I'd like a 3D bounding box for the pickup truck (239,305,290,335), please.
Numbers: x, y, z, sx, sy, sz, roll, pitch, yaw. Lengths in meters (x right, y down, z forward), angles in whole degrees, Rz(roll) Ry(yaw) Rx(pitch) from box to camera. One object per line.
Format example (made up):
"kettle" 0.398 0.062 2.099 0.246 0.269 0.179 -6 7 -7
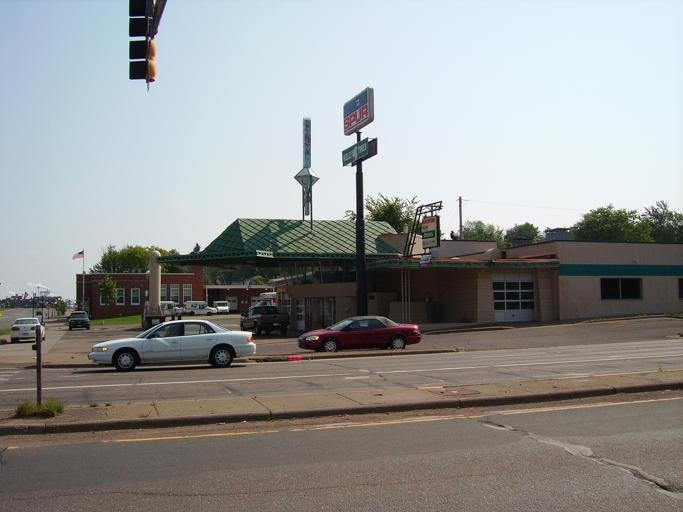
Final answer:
"pickup truck" -5.688 4.451 43.654 1.743 1.385 3.310 2 -3 -24

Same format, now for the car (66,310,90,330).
"car" -25.059 6.069 58.833 1.370 1.299 2.456 1 -8 -18
